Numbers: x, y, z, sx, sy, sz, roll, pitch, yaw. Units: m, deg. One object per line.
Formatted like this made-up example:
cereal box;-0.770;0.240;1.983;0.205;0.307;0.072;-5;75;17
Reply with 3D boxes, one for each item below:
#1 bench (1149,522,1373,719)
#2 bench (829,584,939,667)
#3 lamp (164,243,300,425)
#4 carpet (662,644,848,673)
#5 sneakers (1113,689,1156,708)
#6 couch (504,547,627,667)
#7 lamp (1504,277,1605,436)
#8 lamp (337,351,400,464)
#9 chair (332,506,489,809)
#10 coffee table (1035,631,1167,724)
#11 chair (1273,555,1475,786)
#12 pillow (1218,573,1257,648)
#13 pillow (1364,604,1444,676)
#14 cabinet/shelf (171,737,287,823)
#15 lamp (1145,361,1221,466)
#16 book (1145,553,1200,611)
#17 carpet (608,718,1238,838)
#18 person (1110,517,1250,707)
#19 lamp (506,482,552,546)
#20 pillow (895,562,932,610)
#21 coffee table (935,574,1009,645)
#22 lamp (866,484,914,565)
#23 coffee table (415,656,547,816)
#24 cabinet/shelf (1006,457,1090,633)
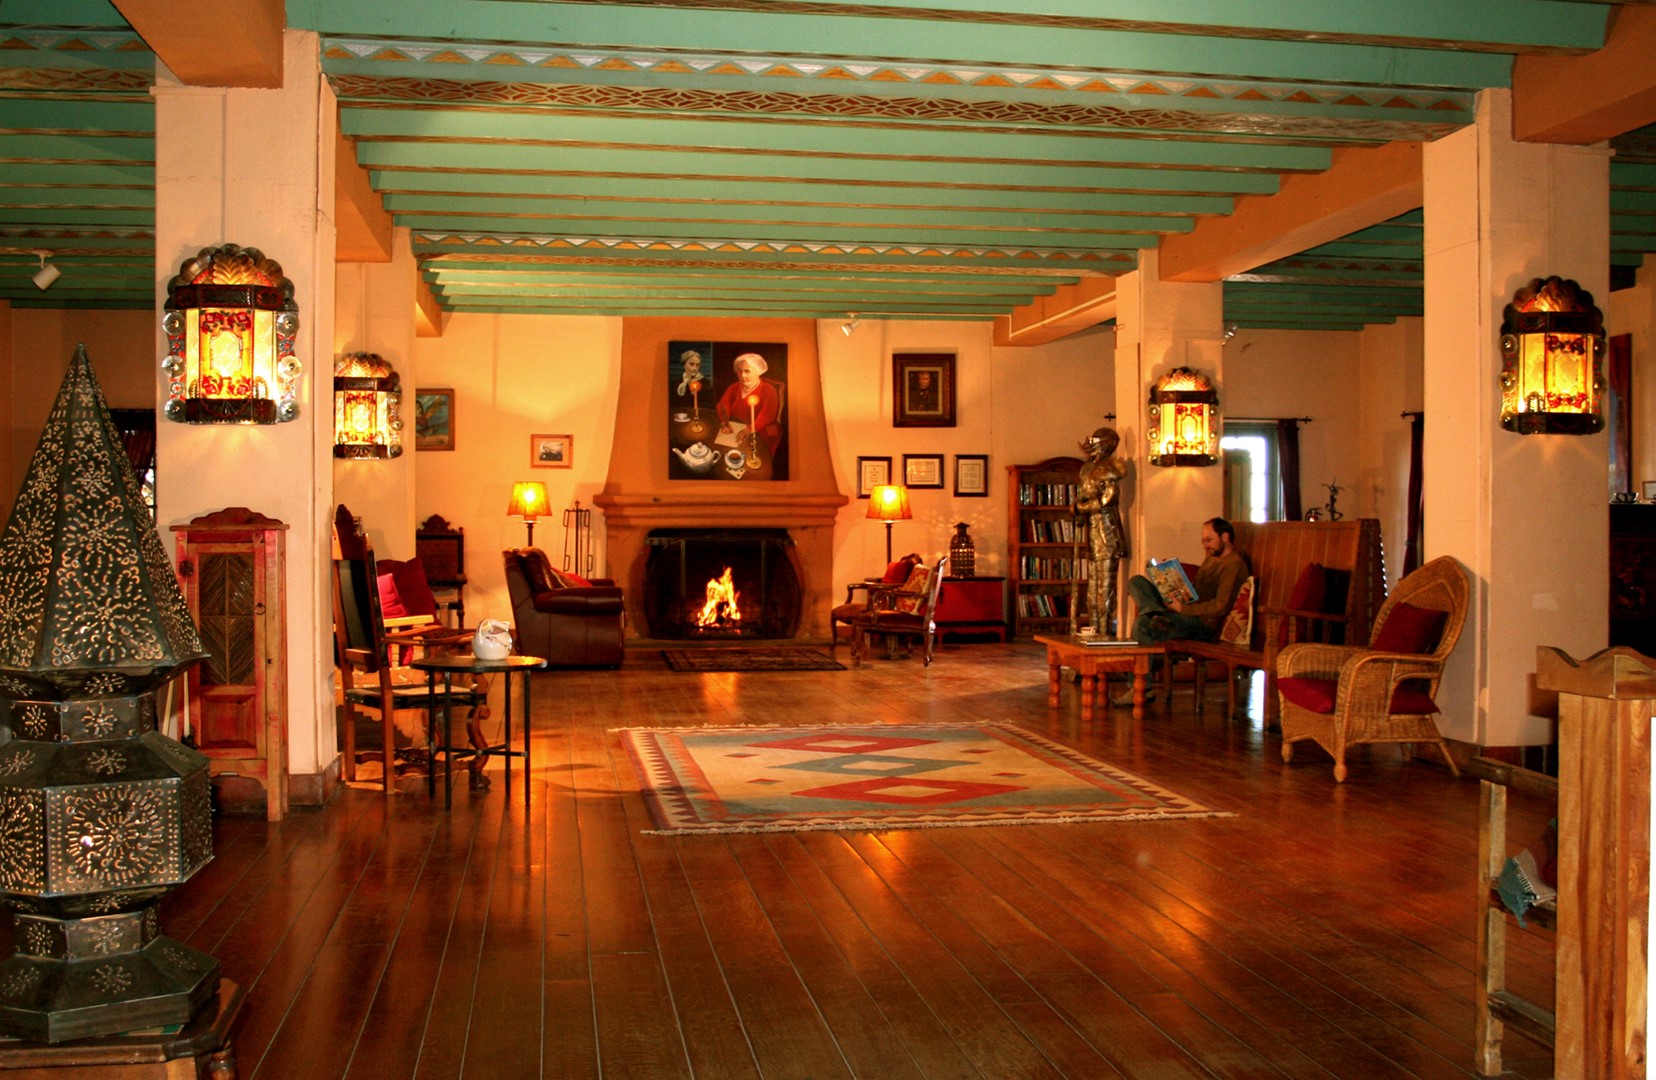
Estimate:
bench;3.538;0.574;10.614;0.929;1.433;2.309;-6;2;-2
bench;0.671;0.964;14.923;1.076;1.132;0.923;3;-2;-10
lamp;-3.385;-1.152;7.296;0.744;1.005;0.345;-3;4;-19
carpet;-0.849;1.317;14.493;1.863;0.133;2.551;-1;4;-6
sneakers;2.699;1.367;11.167;0.474;0.177;0.151;2;-2;-3
couch;-2.905;0.679;14.106;1.352;1.165;1.835;6;1;-14
lamp;4.574;-1.155;8.093;0.670;0.996;0.277;-2;4;-9
lamp;-3.983;-1.172;11.165;0.548;0.894;0.292;-3;5;-24
chair;-2.801;0.706;8.617;0.940;1.592;2.047;-3;4;-18
coffee table;2.269;1.118;10.867;1.012;0.432;0.511;4;3;-38
chair;3.587;0.788;8.410;1.146;1.356;0.878;-1;4;5
pillow;3.419;0.606;10.649;0.143;0.437;0.393;10;4;0
pillow;3.811;0.637;8.376;0.349;0.336;0.140;16;-16;47
cabinet/shelf;-3.254;1.294;7.110;0.516;0.491;0.268;-3;5;-25
lamp;3.452;-1.175;12.232;0.760;0.905;0.690;0;7;18
book;3.012;0.379;11.196;0.113;0.412;0.436;-26;24;-16
carpet;0.373;1.472;8.500;3.190;0.119;3.252;-2;4;-11
person;3.119;0.614;11.360;1.177;1.869;0.804;18;-20;12
lamp;-3.684;-0.338;15.990;0.501;0.834;0.732;-2;4;-13
pillow;1.081;0.544;14.946;0.558;0.452;0.403;6;-7;-40
coffee table;1.653;0.865;16.503;1.077;0.780;0.594;2;-5;-30
lamp;0.809;-0.198;16.644;0.554;1.051;0.767;-1;4;1
coffee table;-2.237;1.185;8.262;0.809;0.840;0.812;-1;-9;40
cabinet/shelf;2.867;0.054;16.881;0.973;2.293;0.534;-1;4;6
